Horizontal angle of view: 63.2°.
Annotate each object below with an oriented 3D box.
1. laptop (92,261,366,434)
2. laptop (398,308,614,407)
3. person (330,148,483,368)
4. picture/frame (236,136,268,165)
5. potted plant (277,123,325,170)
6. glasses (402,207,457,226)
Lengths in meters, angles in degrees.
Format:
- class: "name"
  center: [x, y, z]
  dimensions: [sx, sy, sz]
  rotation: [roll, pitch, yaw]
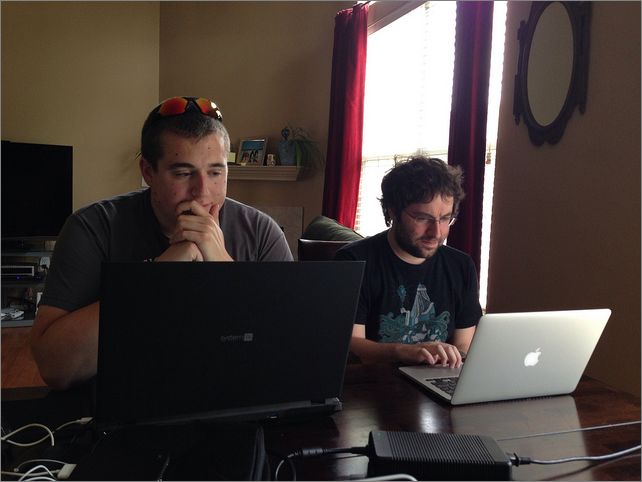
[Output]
- class: "laptop"
  center: [-0.255, 0.124, 1.346]
  dimensions: [0.564, 0.421, 0.415]
  rotation: [2, 10, -14]
- class: "laptop"
  center: [0.602, 0.262, 1.530]
  dimensions: [0.359, 0.247, 0.349]
  rotation: [1, -2, -18]
- class: "person"
  center: [0.382, 0.133, 2.142]
  dimensions: [0.665, 0.895, 0.583]
  rotation: [-1, 9, -15]
- class: "picture/frame"
  center: [-0.651, -0.858, 5.014]
  dimensions: [0.283, 0.314, 0.025]
  rotation: [4, -22, 13]
- class: "potted plant"
  center: [-0.222, -0.868, 4.836]
  dimensions: [0.378, 0.367, 0.233]
  rotation: [7, 10, 35]
- class: "glasses"
  center: [0.454, -0.090, 2.155]
  dimensions: [0.217, 0.062, 0.071]
  rotation: [-1, 13, -18]
